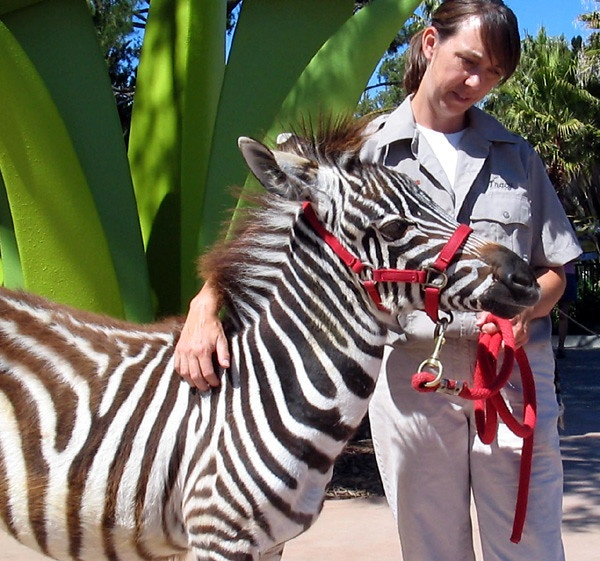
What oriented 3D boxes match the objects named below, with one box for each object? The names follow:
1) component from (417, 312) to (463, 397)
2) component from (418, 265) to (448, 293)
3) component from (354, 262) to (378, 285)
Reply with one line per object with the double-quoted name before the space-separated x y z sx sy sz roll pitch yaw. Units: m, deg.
"component" 0.444 0.234 2.315 0.144 0.259 0.064 7 1 12
"component" 0.396 0.001 2.176 0.076 0.057 0.027 5 6 18
"component" 0.202 -0.024 2.246 0.080 0.021 0.057 32 -18 4
